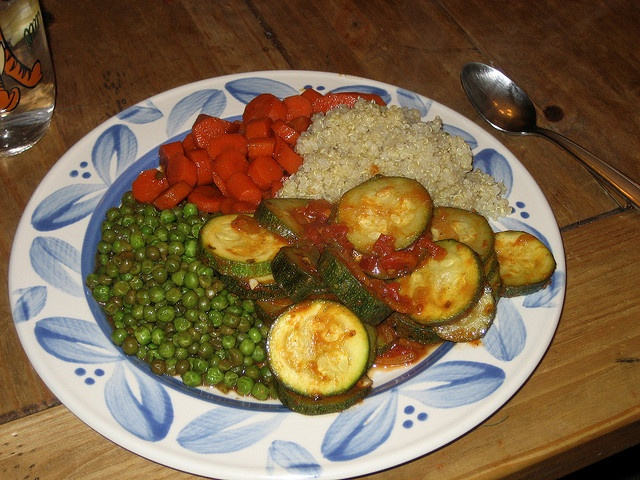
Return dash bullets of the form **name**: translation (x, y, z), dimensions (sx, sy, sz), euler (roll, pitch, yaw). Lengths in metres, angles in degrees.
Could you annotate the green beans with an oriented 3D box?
- **green beans**: translation (-0.926, 0.429, 4.514), dimensions (1.003, 0.299, 1.545), euler (-37, 81, -24)
